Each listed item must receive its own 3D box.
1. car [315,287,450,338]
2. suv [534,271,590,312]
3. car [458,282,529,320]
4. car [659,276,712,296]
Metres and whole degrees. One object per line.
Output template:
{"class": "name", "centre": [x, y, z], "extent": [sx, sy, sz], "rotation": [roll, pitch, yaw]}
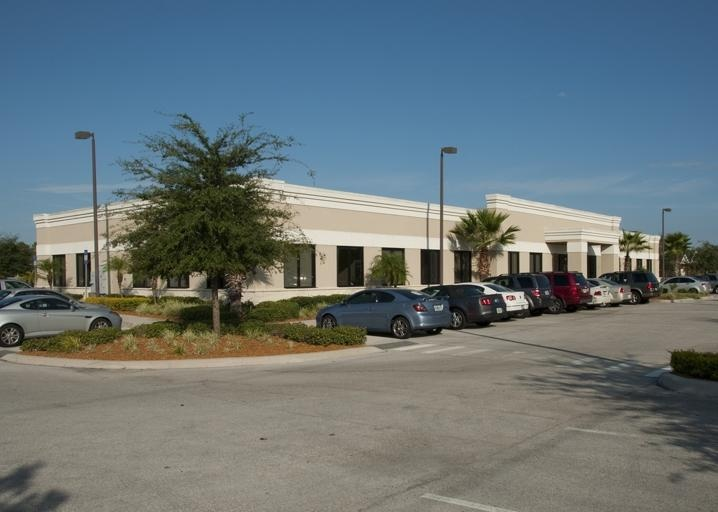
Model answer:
{"class": "car", "centre": [0.833, 1.882, 20.546], "extent": [4.139, 1.267, 1.892], "rotation": [1, -2, 26]}
{"class": "suv", "centre": [9.959, 1.644, 28.475], "extent": [2.884, 1.382, 1.503], "rotation": [1, 1, 30]}
{"class": "car", "centre": [5.318, 1.772, 24.447], "extent": [2.958, 0.917, 1.353], "rotation": [0, -1, 36]}
{"class": "car", "centre": [24.240, 2.220, 44.334], "extent": [2.757, 0.914, 1.325], "rotation": [2, -1, 26]}
